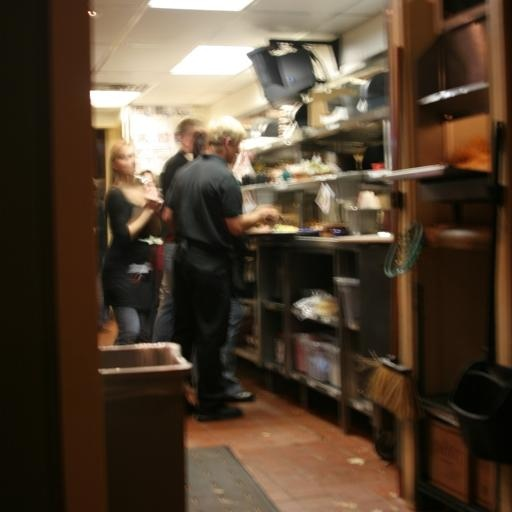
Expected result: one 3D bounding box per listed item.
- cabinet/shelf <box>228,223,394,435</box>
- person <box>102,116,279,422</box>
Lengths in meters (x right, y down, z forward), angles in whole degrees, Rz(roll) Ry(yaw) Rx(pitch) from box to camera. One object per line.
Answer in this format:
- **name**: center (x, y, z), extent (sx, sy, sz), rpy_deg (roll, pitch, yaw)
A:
- **cabinet/shelf**: center (0.488, 0.430, 3.086), extent (0.442, 1.132, 1.259), rpy_deg (-7, 6, -31)
- **person**: center (-0.278, 0.103, 3.000), extent (0.608, 1.934, 0.403), rpy_deg (0, -1, -13)
